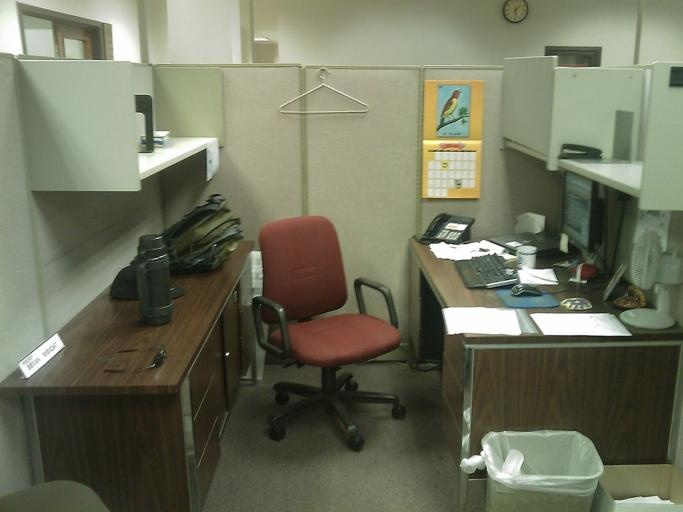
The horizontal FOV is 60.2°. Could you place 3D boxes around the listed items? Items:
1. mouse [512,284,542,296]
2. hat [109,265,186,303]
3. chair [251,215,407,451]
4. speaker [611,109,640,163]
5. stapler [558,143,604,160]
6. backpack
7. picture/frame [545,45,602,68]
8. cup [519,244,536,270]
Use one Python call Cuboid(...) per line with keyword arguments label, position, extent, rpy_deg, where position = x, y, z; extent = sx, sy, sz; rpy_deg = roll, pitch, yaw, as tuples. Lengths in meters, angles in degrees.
Cuboid(label="mouse", position=(0.888, 0.157, 2.794), extent=(0.106, 0.031, 0.061), rpy_deg=(2, 16, 3))
Cuboid(label="hat", position=(-0.919, 0.137, 2.787), extent=(0.291, 0.211, 0.174), rpy_deg=(5, -3, -13))
Cuboid(label="chair", position=(-0.059, 0.376, 3.268), extent=(0.827, 1.131, 0.746), rpy_deg=(0, 18, 5))
Cuboid(label="speaker", position=(1.339, -0.572, 2.785), extent=(0.115, 0.226, 0.074), rpy_deg=(12, 23, 38))
Cuboid(label="stapler", position=(1.133, -0.490, 2.787), extent=(0.146, 0.048, 0.106), rpy_deg=(0, 8, 6))
Cuboid(label="backpack", position=(-0.722, -0.101, 3.128), extent=(0.437, 0.190, 0.345), rpy_deg=(-18, 61, -8))
Cuboid(label="picture/frame", position=(3.076, -2.664, 7.834), extent=(0.857, 0.253, 0.265), rpy_deg=(-5, 17, -11))
Cuboid(label="cup", position=(0.983, 0.018, 3.166), extent=(0.117, 0.110, 0.088), rpy_deg=(-5, 11, -19))
